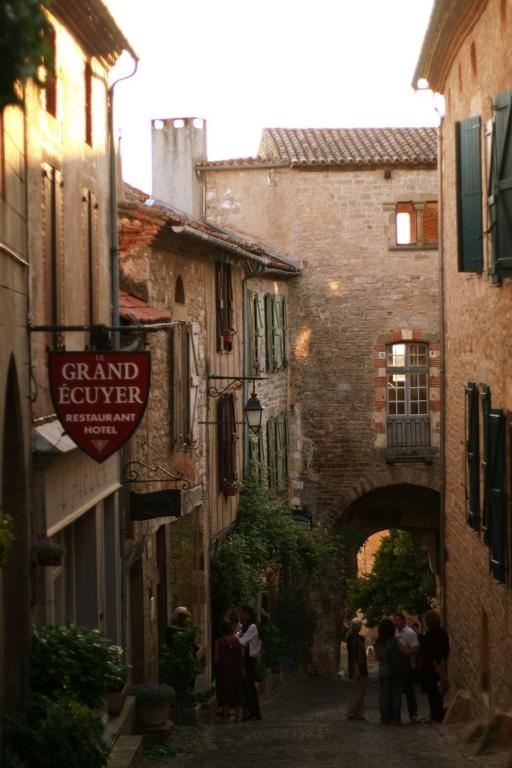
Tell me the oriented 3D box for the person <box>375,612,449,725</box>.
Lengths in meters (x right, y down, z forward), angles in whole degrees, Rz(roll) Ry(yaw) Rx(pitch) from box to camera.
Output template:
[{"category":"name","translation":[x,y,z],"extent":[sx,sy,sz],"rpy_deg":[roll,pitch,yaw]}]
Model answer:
[{"category":"person","translation":[1.747,3.087,11.971],"extent":[0.654,1.215,1.832],"rpy_deg":[-1,-6,11]}]

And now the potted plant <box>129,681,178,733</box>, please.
[{"category":"potted plant","translation":[-0.939,3.032,10.368],"extent":[0.304,0.409,0.355],"rpy_deg":[0,-14,-5]}]

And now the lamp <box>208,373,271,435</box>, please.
[{"category":"lamp","translation":[-0.253,0.215,15.086],"extent":[0.740,0.287,1.021],"rpy_deg":[-4,-45,0]}]
